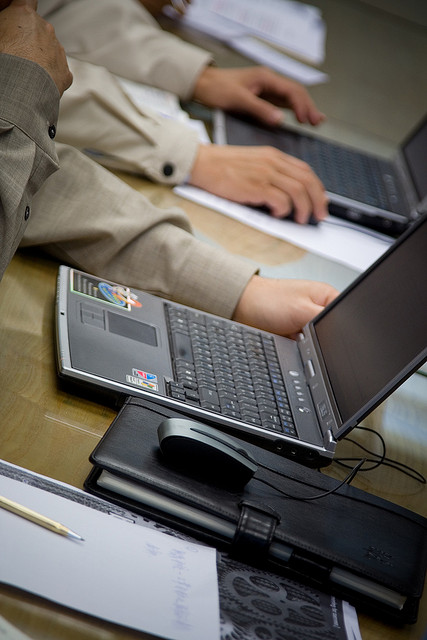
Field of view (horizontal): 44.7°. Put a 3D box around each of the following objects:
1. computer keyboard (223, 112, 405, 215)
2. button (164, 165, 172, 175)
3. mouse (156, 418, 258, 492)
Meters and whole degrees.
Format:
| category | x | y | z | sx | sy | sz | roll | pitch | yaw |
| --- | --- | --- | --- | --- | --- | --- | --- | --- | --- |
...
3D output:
| category | x | y | z | sx | sy | sz | roll | pitch | yaw |
| --- | --- | --- | --- | --- | --- | --- | --- | --- | --- |
| computer keyboard | 0.214 | -0.292 | 1.135 | 0.302 | 0.015 | 0.337 | 15 | 27 | -31 |
| button | -0.080 | -0.265 | 0.915 | 0.014 | 0.014 | 0.003 | -25 | 25 | -36 |
| mouse | 0.000 | 0.114 | 0.429 | 0.081 | 0.026 | 0.043 | 23 | 41 | -23 |
